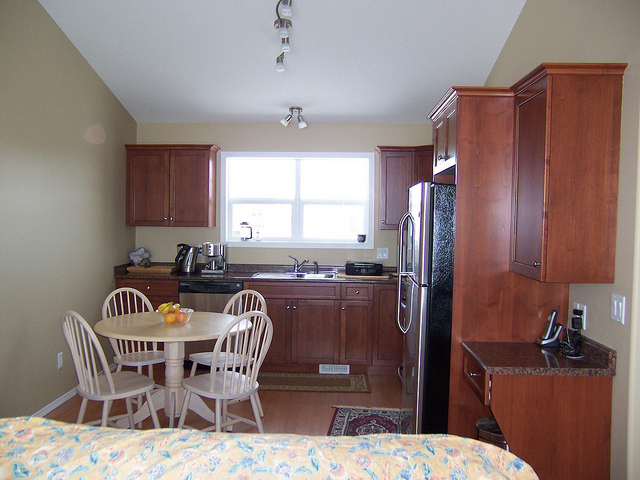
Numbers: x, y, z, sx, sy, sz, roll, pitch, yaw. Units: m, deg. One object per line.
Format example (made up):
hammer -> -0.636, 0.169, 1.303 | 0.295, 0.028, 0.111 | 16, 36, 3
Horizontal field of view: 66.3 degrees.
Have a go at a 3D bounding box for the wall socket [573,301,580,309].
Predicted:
wall socket -> 1.708, 0.437, 3.270 | 0.028, 0.057, 0.054 | 0, 0, 10

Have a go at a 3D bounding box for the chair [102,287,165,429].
chair -> -1.519, 0.991, 4.114 | 0.446, 1.093, 0.507 | 5, 5, 40

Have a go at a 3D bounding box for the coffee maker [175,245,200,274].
coffee maker -> -1.479, 0.215, 5.463 | 0.256, 0.318, 0.193 | -3, 13, -14

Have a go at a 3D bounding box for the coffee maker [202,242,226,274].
coffee maker -> -1.172, 0.207, 5.446 | 0.278, 0.424, 0.317 | 0, -4, 2

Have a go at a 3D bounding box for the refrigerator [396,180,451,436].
refrigerator -> 0.863, 0.718, 3.961 | 0.423, 2.453, 0.566 | -3, 21, -1

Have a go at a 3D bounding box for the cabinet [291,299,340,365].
cabinet -> -0.053, 0.933, 5.357 | 0.679, 1.090, 0.553 | 0, -3, -2

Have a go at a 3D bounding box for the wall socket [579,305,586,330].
wall socket -> 1.713, 0.512, 3.203 | 0.050, 0.159, 0.092 | 6, 14, 29

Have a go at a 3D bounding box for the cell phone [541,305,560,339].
cell phone -> 1.574, 0.558, 3.340 | 0.037, 0.176, 0.169 | 19, 7, 9

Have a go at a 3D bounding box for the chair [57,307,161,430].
chair -> -1.554, 1.041, 3.685 | 0.671, 1.058, 0.738 | -1, 1, 1

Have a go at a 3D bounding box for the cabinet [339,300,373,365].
cabinet -> 0.374, 0.959, 5.240 | 0.354, 0.702, 0.391 | 1, 2, 5

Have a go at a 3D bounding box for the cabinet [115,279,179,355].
cabinet -> -1.834, 0.583, 5.205 | 0.566, 1.091, 0.570 | 0, 2, -43

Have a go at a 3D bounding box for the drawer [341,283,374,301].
drawer -> 0.382, 0.543, 5.068 | 0.336, 0.171, 0.043 | 0, 12, 2

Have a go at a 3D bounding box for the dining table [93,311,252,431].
dining table -> -1.295, 1.062, 4.096 | 1.212, 1.017, 1.268 | 1, 1, 5

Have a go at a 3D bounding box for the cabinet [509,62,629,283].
cabinet -> 1.490, -0.387, 3.273 | 0.508, 1.446, 0.814 | 1, 2, 4

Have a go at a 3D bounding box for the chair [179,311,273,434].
chair -> -0.732, 1.058, 3.745 | 0.583, 1.058, 0.673 | 6, -5, -41

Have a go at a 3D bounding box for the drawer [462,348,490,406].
drawer -> 0.999, 0.935, 3.261 | 0.116, 0.267, 0.219 | 2, 5, 4

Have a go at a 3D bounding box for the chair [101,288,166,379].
chair -> -1.571, 0.906, 4.123 | 0.432, 0.930, 0.417 | -8, 8, -21
